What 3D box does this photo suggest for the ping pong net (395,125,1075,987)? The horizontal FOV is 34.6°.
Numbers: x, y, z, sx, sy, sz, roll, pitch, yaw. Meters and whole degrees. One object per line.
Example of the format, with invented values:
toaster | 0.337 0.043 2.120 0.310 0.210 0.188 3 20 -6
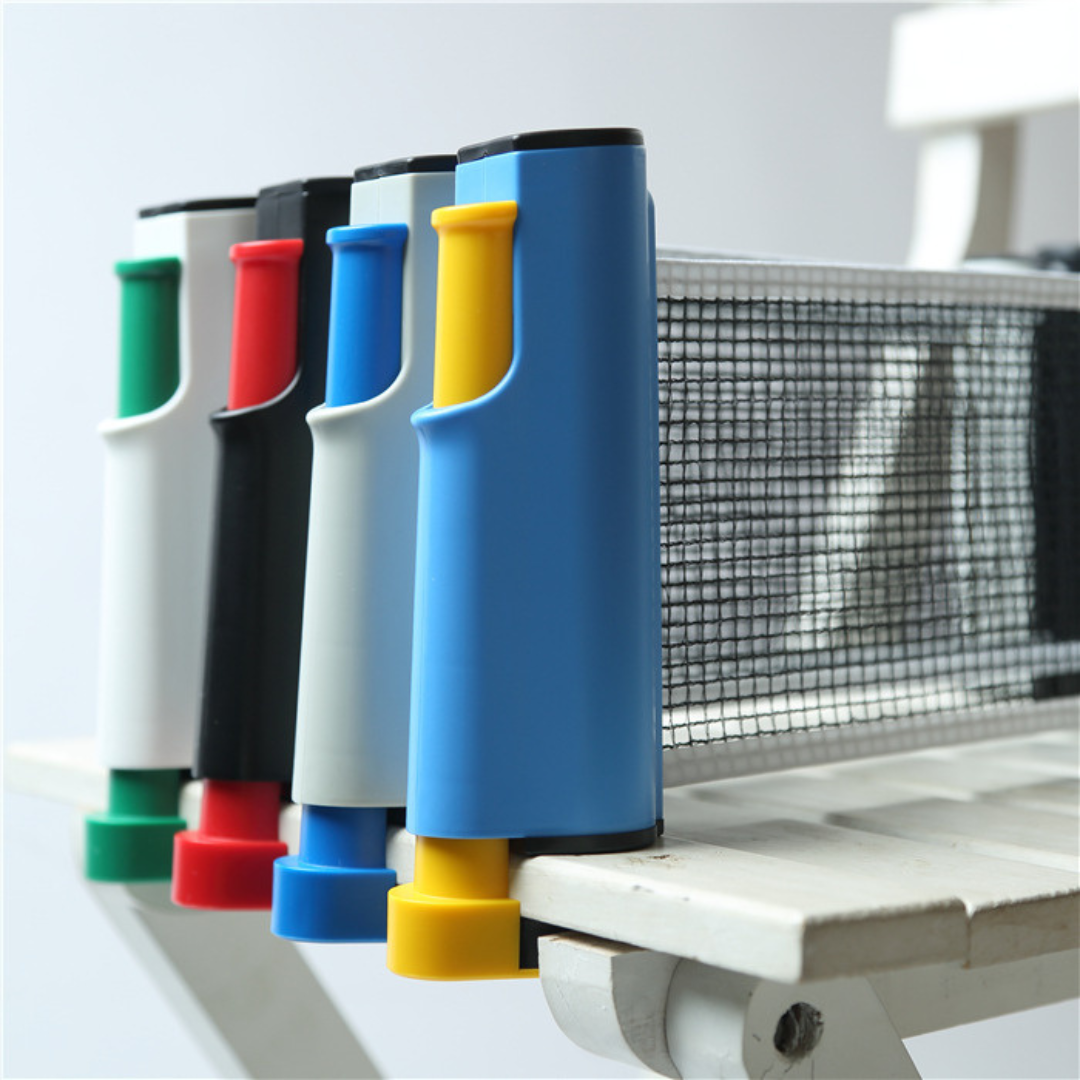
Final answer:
ping pong net | 0.125 -0.002 0.782 0.205 0.298 0.490 1 2 23
